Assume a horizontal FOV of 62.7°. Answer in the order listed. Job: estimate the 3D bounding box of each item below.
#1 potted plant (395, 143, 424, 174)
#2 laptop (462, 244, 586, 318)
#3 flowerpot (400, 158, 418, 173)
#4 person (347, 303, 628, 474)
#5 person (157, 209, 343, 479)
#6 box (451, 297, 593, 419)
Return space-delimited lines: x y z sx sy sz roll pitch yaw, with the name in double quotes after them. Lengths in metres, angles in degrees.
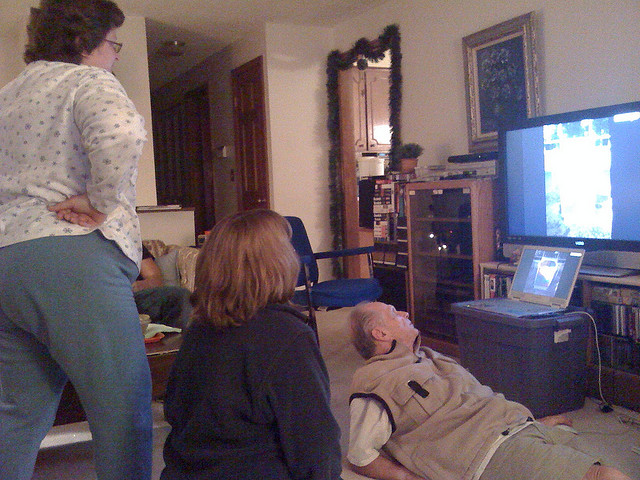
0.722 -0.644 4.348 0.270 0.251 0.243 -1 -1 -30 "potted plant"
1.105 0.218 2.858 0.535 0.316 0.482 -7 5 -31 "laptop"
0.728 -0.603 4.220 0.132 0.090 0.126 1 -1 -2 "flowerpot"
0.476 0.610 2.007 1.101 0.433 0.616 7 9 35 "person"
-0.213 0.292 1.386 0.465 0.718 0.264 -5 9 -14 "person"
1.126 0.594 2.920 0.581 0.562 0.839 -1 0 -28 "box"
